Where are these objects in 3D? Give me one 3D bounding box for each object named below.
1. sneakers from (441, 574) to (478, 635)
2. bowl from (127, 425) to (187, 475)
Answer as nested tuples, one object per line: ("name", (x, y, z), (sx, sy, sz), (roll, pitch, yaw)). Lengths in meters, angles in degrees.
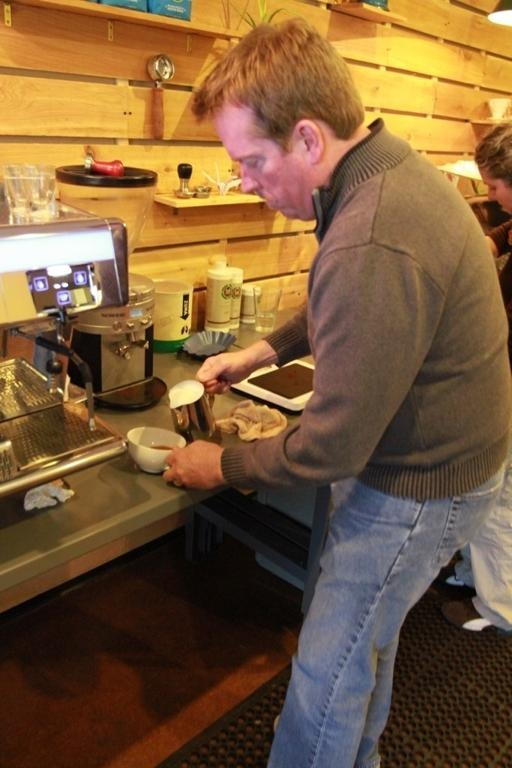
("sneakers", (0.708, 0.765, 1.958), (0.097, 0.083, 0.159), (41, 21, -6))
("bowl", (-0.205, 0.109, 1.116), (0.096, 0.059, 0.097), (13, 17, -4))
